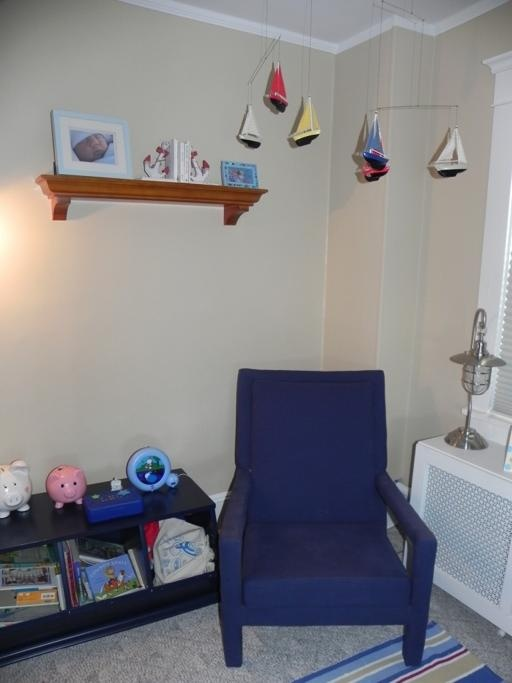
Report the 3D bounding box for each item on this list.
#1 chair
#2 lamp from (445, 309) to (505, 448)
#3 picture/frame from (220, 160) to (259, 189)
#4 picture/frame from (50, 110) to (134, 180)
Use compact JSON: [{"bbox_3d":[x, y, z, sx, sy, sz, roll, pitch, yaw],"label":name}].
[{"bbox_3d":[0.235,0.651,2.056,0.643,0.955,0.934,-1,0,3],"label":"chair"},{"bbox_3d":[0.886,0.141,2.149,0.199,0.557,0.330,5,12,25],"label":"lamp"},{"bbox_3d":[-0.078,-0.706,2.233,0.186,0.149,0.026,1,-15,-28],"label":"picture/frame"},{"bbox_3d":[-0.605,-0.711,1.923,0.304,0.268,0.032,-2,1,-36],"label":"picture/frame"}]
